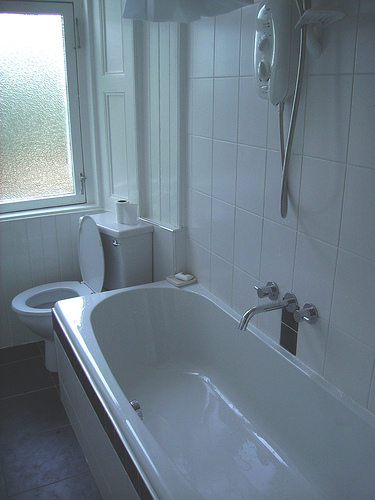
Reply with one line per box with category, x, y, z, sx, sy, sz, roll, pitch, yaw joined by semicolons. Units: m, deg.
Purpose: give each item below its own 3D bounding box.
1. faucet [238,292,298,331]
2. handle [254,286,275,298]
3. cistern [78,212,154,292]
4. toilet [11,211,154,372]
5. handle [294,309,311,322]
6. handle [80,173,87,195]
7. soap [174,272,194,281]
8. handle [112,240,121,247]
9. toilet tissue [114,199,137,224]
faucet;0.288;0.222;1.298;0.239;0.091;0.082;-19;22;-25
handle;0.301;0.166;1.411;0.043;0.043;0.066;-6;-10;-14
cistern;-0.431;0.000;2.313;0.322;0.485;0.405;-11;25;-31
toilet;-0.721;0.302;2.455;0.740;1.077;0.745;-13;26;-31
handle;0.393;0.225;1.253;0.051;0.056;0.031;-3;10;-38
handle;-0.740;-0.469;2.605;0.058;0.147;0.027;-7;12;-3
soap;-0.017;0.152;2.055;0.105;0.032;0.072;-8;13;-2
handle;-0.412;-0.039;2.148;0.031;0.045;0.043;26;45;29
toilet tissue;-0.397;-0.242;2.233;0.086;0.130;0.163;-20;36;-37
